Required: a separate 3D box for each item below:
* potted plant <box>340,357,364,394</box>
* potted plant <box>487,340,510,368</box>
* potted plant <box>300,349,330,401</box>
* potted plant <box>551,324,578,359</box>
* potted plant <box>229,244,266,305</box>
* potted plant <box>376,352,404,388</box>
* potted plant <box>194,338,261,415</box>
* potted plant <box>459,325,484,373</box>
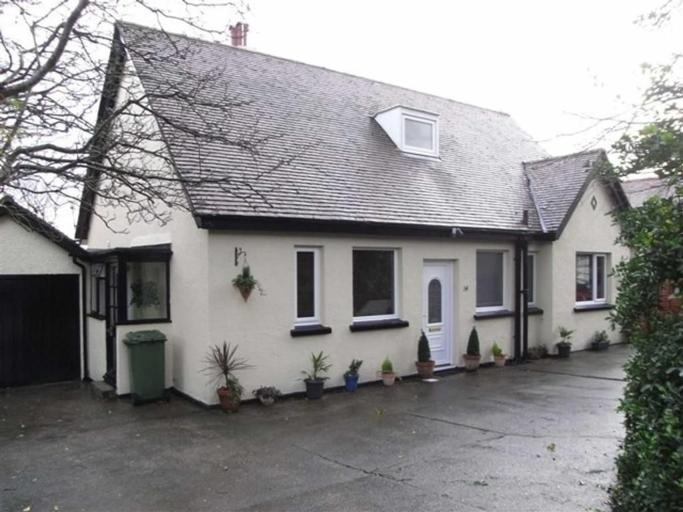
[{"bbox_3d":[0.255,2.773,13.623,0.348,0.673,0.564,1,4,15],"label":"potted plant"},{"bbox_3d":[4.440,2.725,16.252,0.650,0.666,0.325,-3,5,-39],"label":"potted plant"},{"bbox_3d":[-0.558,2.686,13.190,0.892,1.291,0.803,0,1,4],"label":"potted plant"},{"bbox_3d":[6.655,2.577,17.371,0.730,1.191,0.790,2,-8,-5],"label":"potted plant"},{"bbox_3d":[-1.992,0.351,12.404,0.650,1.112,0.591,-2,5,-10],"label":"potted plant"},{"bbox_3d":[1.240,2.777,14.086,0.609,0.639,0.475,-2,5,-29],"label":"potted plant"},{"bbox_3d":[-2.354,2.468,12.033,1.001,1.390,0.635,-1,4,-15],"label":"potted plant"},{"bbox_3d":[3.549,2.483,15.635,0.403,1.102,0.587,3,5,40],"label":"potted plant"}]
